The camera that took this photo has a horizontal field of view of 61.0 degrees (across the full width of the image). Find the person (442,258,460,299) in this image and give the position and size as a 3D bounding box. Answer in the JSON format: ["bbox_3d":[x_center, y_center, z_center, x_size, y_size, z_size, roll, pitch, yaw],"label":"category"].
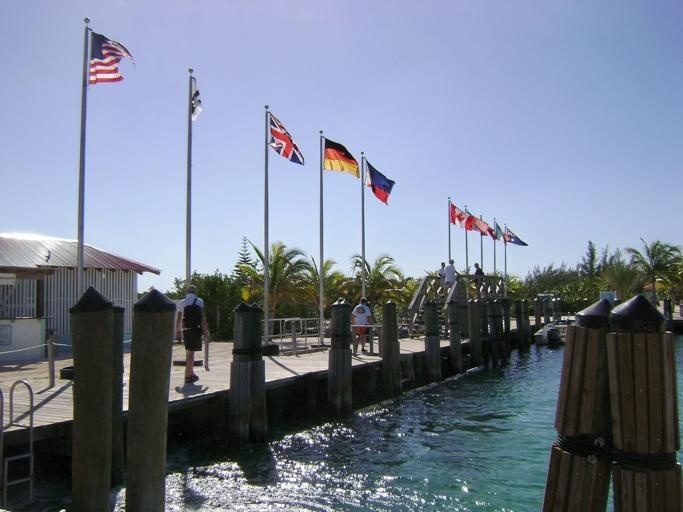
[{"bbox_3d":[4.974,1.027,26.333,0.513,1.215,1.536,3,2,-1],"label":"person"}]

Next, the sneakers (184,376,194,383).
[{"bbox_3d":[-3.292,2.683,12.482,0.127,0.118,0.144,4,-5,-15],"label":"sneakers"}]

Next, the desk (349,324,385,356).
[{"bbox_3d":[0.887,2.821,19.005,1.116,1.396,1.289,1,-5,-6],"label":"desk"}]

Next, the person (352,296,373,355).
[{"bbox_3d":[0.634,2.117,18.504,0.481,1.848,0.490,4,16,6],"label":"person"}]

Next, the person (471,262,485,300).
[{"bbox_3d":[6.923,1.208,29.127,0.563,1.321,1.844,3,2,13],"label":"person"}]

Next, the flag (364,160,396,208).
[{"bbox_3d":[1.438,-3.081,22.731,0.902,0.235,2.329,-16,-50,14],"label":"flag"}]

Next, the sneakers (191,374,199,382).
[{"bbox_3d":[-3.215,2.668,12.615,0.105,0.169,0.345,0,-13,-6],"label":"sneakers"}]

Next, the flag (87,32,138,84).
[{"bbox_3d":[-6.322,-5.479,15.675,1.247,1.691,0.158,-5,-16,-6],"label":"flag"}]

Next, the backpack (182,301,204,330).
[{"bbox_3d":[-3.330,1.338,12.953,0.405,0.700,0.342,-1,-14,2],"label":"backpack"}]
